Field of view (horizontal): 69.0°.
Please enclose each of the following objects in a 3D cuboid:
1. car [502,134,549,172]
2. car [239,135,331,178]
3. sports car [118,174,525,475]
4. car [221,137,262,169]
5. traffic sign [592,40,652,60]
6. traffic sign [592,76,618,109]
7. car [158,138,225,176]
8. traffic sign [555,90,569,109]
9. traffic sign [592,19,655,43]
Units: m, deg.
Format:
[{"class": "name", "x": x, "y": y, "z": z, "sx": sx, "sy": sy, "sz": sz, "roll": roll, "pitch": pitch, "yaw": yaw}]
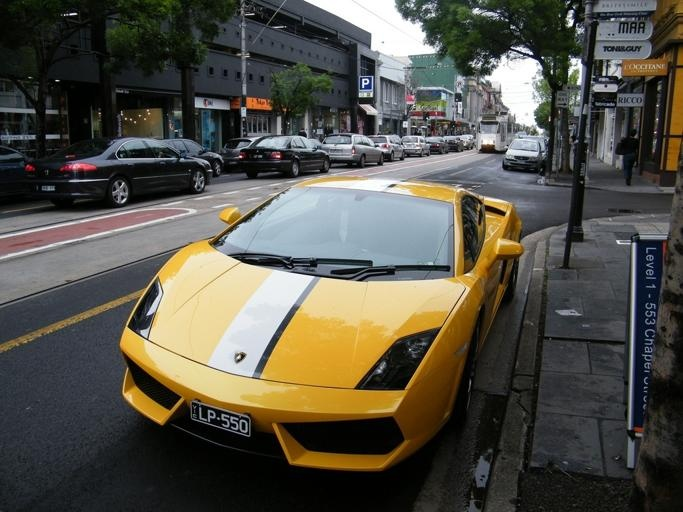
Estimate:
[{"class": "car", "x": 11.269, "y": -6.340, "z": 30.458, "sx": 1.715, "sy": 1.540, "sz": 4.145, "roll": 3, "pitch": 15, "yaw": 22}, {"class": "car", "x": -2.393, "y": -4.490, "z": 22.201, "sx": 3.794, "sy": 1.717, "sz": 1.627, "roll": -12, "pitch": 21, "yaw": -43}, {"class": "sports car", "x": 0.127, "y": 0.351, "z": 3.903, "sx": 1.636, "sy": 0.879, "sz": 2.975, "roll": 5, "pitch": 14, "yaw": 19}, {"class": "car", "x": -5.692, "y": -5.475, "z": 26.700, "sx": 1.408, "sy": 1.368, "sz": 3.774, "roll": 2, "pitch": 15, "yaw": 9}, {"class": "traffic sign", "x": 4.251, "y": -3.136, "z": 7.561, "sx": 0.801, "sy": 0.291, "sz": 0.507, "roll": 8, "pitch": 16, "yaw": 14}, {"class": "traffic sign", "x": 4.950, "y": -3.091, "z": 9.431, "sx": 0.443, "sy": 0.542, "sz": 1.436, "roll": 10, "pitch": 17, "yaw": 25}, {"class": "car", "x": -6.239, "y": -4.522, "z": 21.709, "sx": 1.476, "sy": 1.280, "sz": 3.377, "roll": 11, "pitch": 17, "yaw": 36}, {"class": "traffic sign", "x": 9.522, "y": -6.833, "z": 21.517, "sx": 0.729, "sy": 0.700, "sz": 0.428, "roll": -8, "pitch": 18, "yaw": -36}, {"class": "traffic sign", "x": 4.240, "y": -3.397, "z": 7.493, "sx": 0.834, "sy": 0.340, "sz": 0.177, "roll": 5, "pitch": 14, "yaw": 4}]
